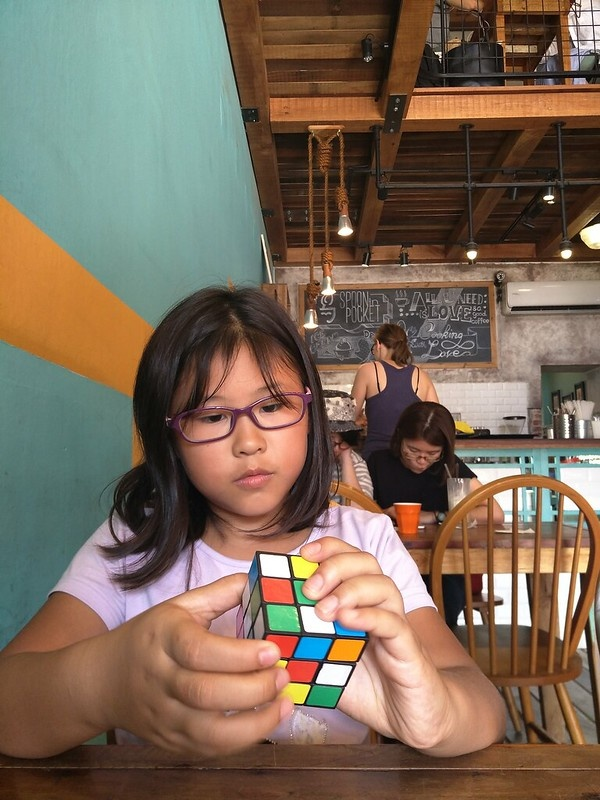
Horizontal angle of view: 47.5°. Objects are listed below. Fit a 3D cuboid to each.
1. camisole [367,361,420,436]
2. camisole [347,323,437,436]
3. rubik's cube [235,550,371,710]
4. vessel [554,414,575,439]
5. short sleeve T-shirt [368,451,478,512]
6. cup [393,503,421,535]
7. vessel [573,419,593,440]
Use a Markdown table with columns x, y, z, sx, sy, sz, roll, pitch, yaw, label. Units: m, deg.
| x | y | z | sx | sy | sz | roll | pitch | yaw | label |
| --- | --- | --- | --- | --- | --- | --- | --- | --- | --- |
| 0.464 | -0.014 | 3.542 | 0.222 | 0.377 | 0.275 | 12 | 3 | 13 | camisole |
| 0.524 | -0.051 | 3.632 | 0.452 | 0.671 | 0.404 | 1 | -3 | 18 | camisole |
| -0.004 | 0.173 | 0.520 | 0.098 | 0.075 | 0.091 | 18 | 28 | -3 | rubik's cube |
| 1.896 | 0.186 | 4.863 | 0.171 | 0.175 | 0.166 | -1 | -6 | -2 | vessel |
| 0.443 | 0.311 | 2.705 | 0.274 | 0.246 | 0.278 | 2 | -22 | 17 | short sleeve T-shirt |
| 0.288 | 0.326 | 1.896 | 0.089 | 0.086 | 0.085 | 2 | -20 | 1 | cup |
| 1.996 | 0.202 | 4.803 | 0.130 | 0.131 | 0.125 | 2 | -8 | -33 | vessel |
